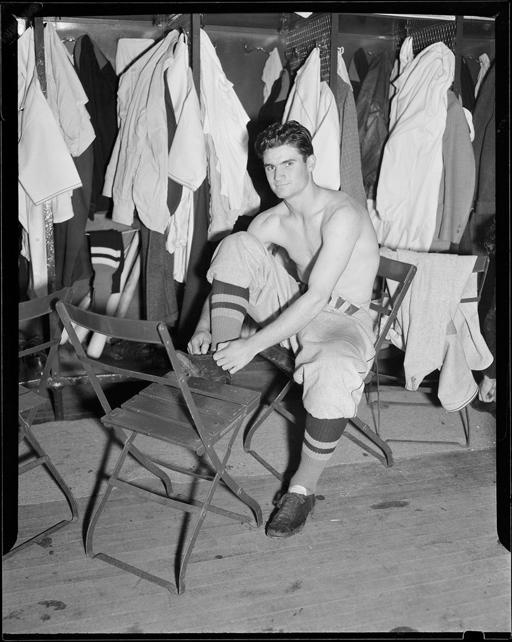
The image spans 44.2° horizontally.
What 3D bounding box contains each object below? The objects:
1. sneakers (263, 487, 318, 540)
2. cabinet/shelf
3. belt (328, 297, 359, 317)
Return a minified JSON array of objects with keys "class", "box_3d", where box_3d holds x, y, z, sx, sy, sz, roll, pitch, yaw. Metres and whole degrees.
[{"class":"sneakers","box_3d":[0.115,0.626,2.119,0.072,0.102,0.206,4,13,20]},{"class":"cabinet/shelf","box_3d":[-0.022,-0.474,2.982,1.650,2.130,0.976,-1,7,-4]},{"class":"belt","box_3d":[0.342,-0.059,2.498,0.089,0.066,0.030,24,-23,-8]}]
